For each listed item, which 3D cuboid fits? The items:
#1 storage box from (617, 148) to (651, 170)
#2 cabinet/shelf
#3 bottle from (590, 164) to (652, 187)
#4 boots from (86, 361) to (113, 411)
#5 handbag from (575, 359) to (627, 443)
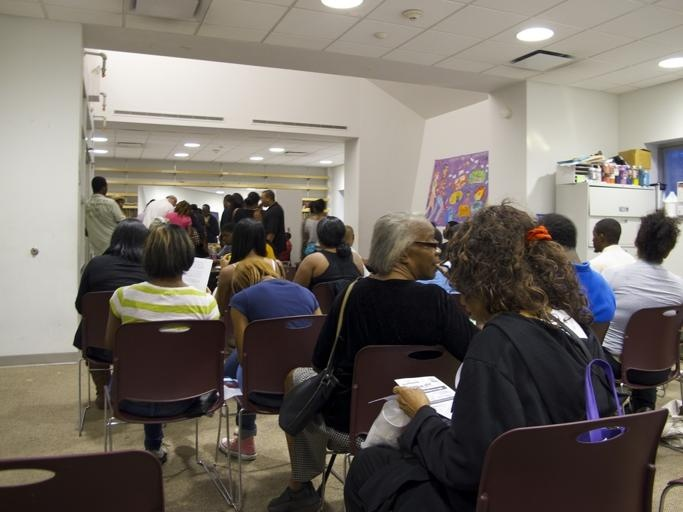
[{"bbox_3d":[4.304,-1.310,7.347,0.329,0.363,0.480,6,6,44],"label":"storage box"},{"bbox_3d":[3.871,-0.411,7.286,1.216,1.171,0.656,-1,1,-14],"label":"cabinet/shelf"},{"bbox_3d":[3.974,-1.155,7.101,0.571,0.203,0.443,0,2,-26],"label":"bottle"},{"bbox_3d":[-1.950,1.004,3.988,0.114,0.252,0.235,-9,1,30],"label":"boots"},{"bbox_3d":[0.823,0.426,1.560,0.053,0.197,0.092,-9,-22,17],"label":"handbag"}]
